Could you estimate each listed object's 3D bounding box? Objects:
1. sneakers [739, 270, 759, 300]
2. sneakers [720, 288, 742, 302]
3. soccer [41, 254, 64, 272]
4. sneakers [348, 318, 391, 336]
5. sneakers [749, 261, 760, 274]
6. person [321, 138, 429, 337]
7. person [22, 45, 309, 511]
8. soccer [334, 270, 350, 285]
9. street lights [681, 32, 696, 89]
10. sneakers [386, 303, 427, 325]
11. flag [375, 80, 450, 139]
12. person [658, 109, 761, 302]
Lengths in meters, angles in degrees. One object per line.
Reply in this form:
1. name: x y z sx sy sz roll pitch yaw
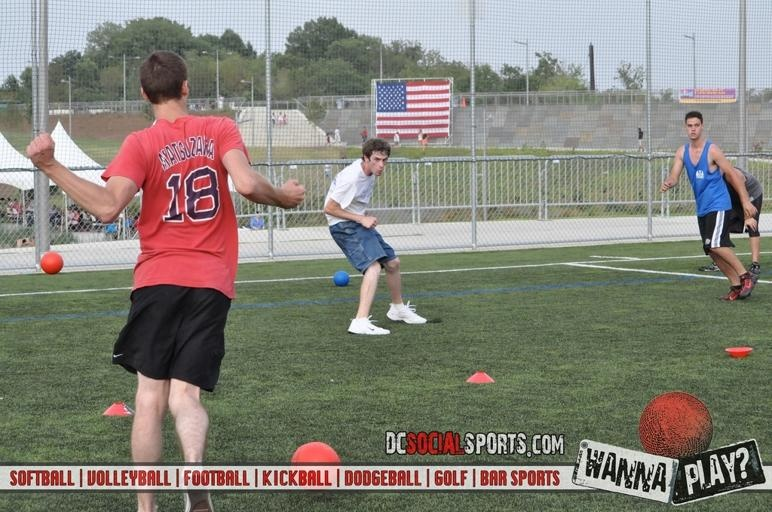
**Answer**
1. sneakers: 4.370 0.286 9.901 0.197 0.434 0.141 10 -1 11
2. sneakers: 4.168 0.433 9.880 0.265 0.165 0.199 9 15 39
3. soccer: -5.405 0.105 13.299 0.304 0.371 0.305 -10 14 -24
4. sneakers: -0.192 0.742 8.772 0.477 0.220 0.175 1 -2 -5
5. sneakers: 4.609 0.130 10.202 0.116 0.158 0.360 1 4 12
6. person: -0.173 -0.223 8.850 0.954 2.077 0.751 -2 11 -4
7. person: -1.362 -0.012 5.389 1.303 2.623 0.827 2 11 13
8. soccer: -0.612 0.309 11.650 0.180 0.193 0.180 2 -18 42
9. street lights: 6.301 -4.041 16.960 0.392 1.100 0.130 -6 11 -24
10. sneakers: 0.212 0.648 9.320 0.513 0.271 0.192 6 8 10
11. flag: 0.597 -2.967 16.290 1.260 1.150 2.525 6 14 29
12. person: 4.041 -0.647 10.196 1.072 2.271 0.985 3 12 22
